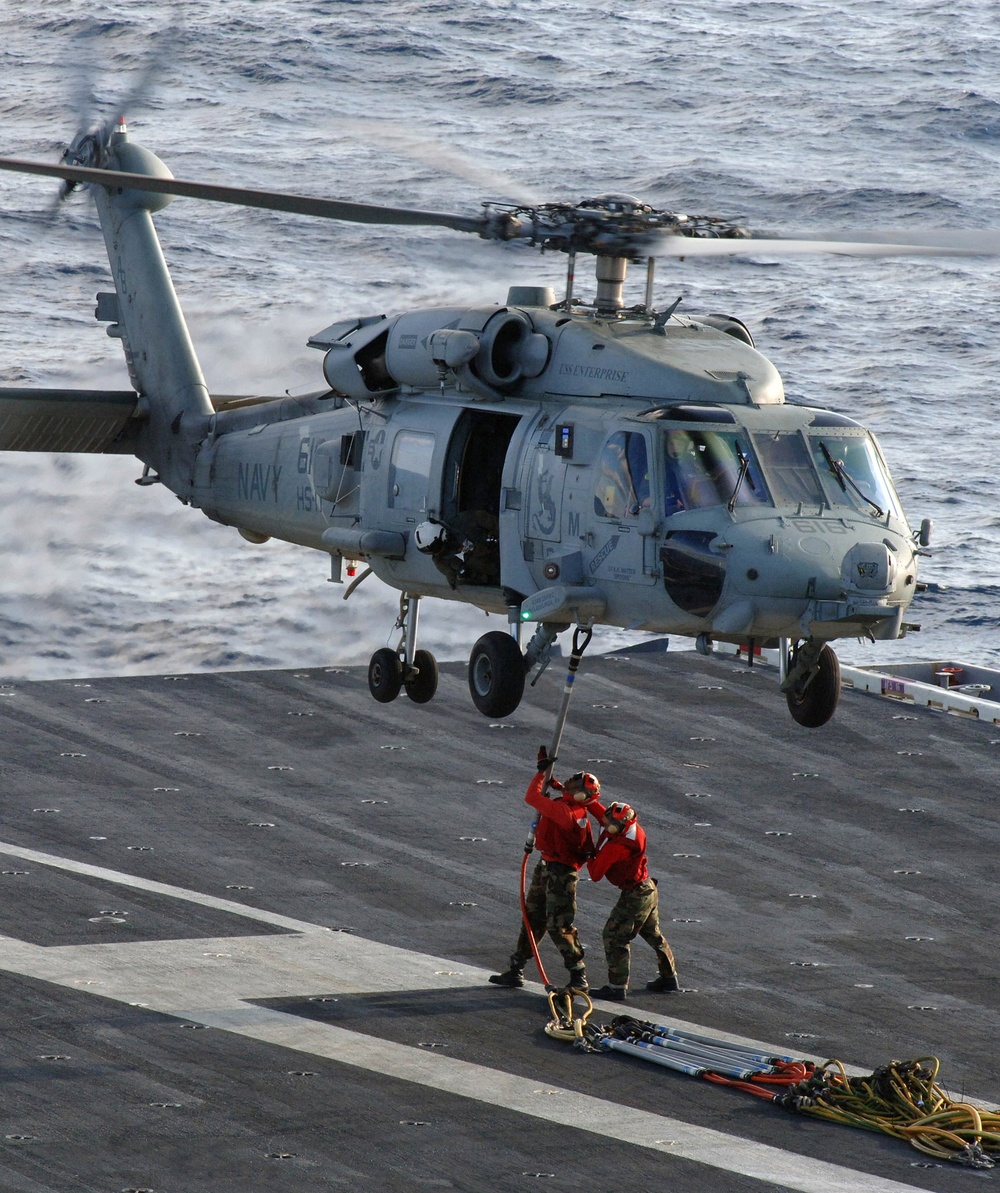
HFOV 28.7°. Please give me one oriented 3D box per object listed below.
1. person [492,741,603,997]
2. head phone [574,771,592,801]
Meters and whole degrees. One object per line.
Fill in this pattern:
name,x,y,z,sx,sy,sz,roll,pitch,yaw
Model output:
person,0.513,2.720,18.621,0.890,2.499,1.152,6,14,-4
head phone,0.796,1.778,18.447,0.139,0.194,0.184,6,12,2
